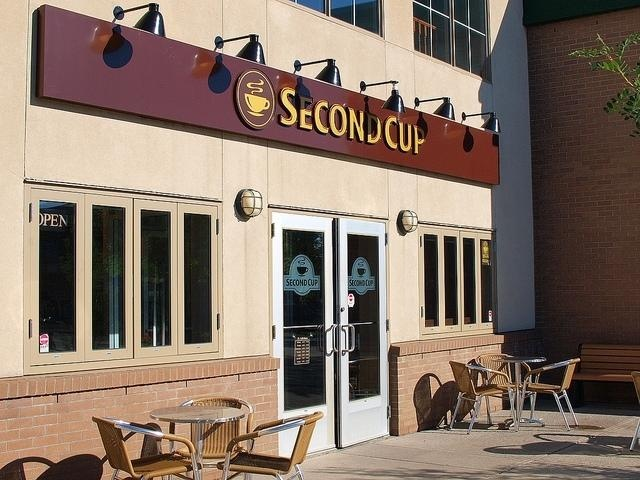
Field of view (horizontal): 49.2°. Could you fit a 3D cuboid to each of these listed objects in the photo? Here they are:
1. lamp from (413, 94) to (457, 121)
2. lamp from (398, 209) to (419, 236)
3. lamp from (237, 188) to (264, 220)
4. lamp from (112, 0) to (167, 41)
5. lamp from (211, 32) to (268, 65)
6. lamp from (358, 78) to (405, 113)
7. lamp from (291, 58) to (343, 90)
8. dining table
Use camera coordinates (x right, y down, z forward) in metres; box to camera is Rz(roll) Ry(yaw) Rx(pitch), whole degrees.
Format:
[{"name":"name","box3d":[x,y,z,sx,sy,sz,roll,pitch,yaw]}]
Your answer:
[{"name":"lamp","box3d":[1.884,-2.154,11.423,0.625,0.494,0.400,-3,-4,31]},{"name":"lamp","box3d":[1.397,-0.269,10.942,0.172,0.382,0.405,-7,-9,44]},{"name":"lamp","box3d":[-0.880,-0.395,8.760,0.299,0.518,0.358,-2,-4,39]},{"name":"lamp","box3d":[-2.024,-2.432,7.779,0.455,0.365,0.303,-5,-7,22]},{"name":"lamp","box3d":[-1.018,-2.337,8.655,0.498,0.396,0.329,-4,-2,21]},{"name":"lamp","box3d":[0.979,-2.117,10.609,0.683,0.603,0.429,-3,-3,31]},{"name":"lamp","box3d":[-0.069,-2.276,9.583,0.540,0.429,0.349,-2,-2,25]},{"name":"dining table","box3d":[-1.203,1.970,6.927,0.688,0.949,0.785,-2,-13,6]}]
